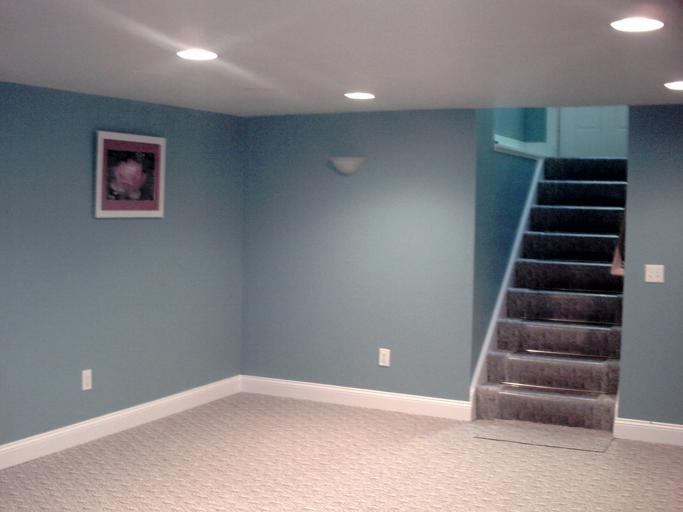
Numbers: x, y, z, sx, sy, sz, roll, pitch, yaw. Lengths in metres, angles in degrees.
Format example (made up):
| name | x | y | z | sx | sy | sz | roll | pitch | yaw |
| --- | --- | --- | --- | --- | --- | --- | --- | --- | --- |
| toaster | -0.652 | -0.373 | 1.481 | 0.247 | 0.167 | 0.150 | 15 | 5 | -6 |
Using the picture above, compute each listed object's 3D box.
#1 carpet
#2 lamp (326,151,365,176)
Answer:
| name | x | y | z | sx | sy | sz | roll | pitch | yaw |
| --- | --- | --- | --- | --- | --- | --- | --- | --- | --- |
| carpet | 1.557 | 1.391 | 4.132 | 1.039 | 0.031 | 0.520 | 2 | 4 | 16 |
| lamp | 0.026 | -0.798 | 4.683 | 0.364 | 0.181 | 0.104 | 3 | 5 | 23 |
